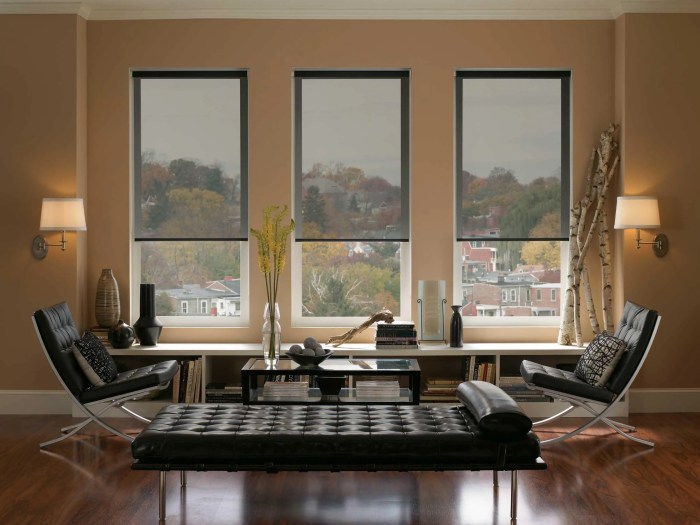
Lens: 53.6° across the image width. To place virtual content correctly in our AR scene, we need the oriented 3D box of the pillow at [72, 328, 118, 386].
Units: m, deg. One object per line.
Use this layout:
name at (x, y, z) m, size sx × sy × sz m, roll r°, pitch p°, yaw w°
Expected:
pillow at (-1.997, 0.773, 5.431) m, size 0.114 × 0.365 × 0.384 m, roll -25°, pitch 19°, yaw 1°

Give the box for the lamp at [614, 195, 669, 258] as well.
lamp at (2.632, -0.294, 6.274) m, size 0.400 × 0.555 × 0.365 m, roll 3°, pitch 2°, yaw 44°

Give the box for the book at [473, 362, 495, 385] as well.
book at (1.222, 1.010, 6.341) m, size 0.164 × 0.214 × 0.221 m, roll 3°, pitch -6°, yaw 5°

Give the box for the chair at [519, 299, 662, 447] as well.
chair at (1.940, 0.889, 5.756) m, size 1.072 × 1.152 × 0.863 m, roll 1°, pitch 2°, yaw 12°

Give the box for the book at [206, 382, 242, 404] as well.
book at (-1.139, 1.169, 6.257) m, size 0.313 × 0.132 × 0.228 m, roll -1°, pitch 12°, yaw -5°

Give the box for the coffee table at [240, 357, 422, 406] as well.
coffee table at (-0.155, 0.974, 5.638) m, size 1.413 × 0.268 × 0.622 m, roll 0°, pitch 12°, yaw -1°

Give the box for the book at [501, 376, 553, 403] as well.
book at (1.539, 1.163, 6.232) m, size 0.328 × 0.076 × 0.331 m, roll 1°, pitch 2°, yaw -3°

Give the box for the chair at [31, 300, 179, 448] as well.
chair at (-1.973, 0.881, 5.653) m, size 1.034 × 1.042 × 0.751 m, roll 0°, pitch 2°, yaw -12°

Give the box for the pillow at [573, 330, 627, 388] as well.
pillow at (2.032, 0.712, 5.559) m, size 0.140 × 0.466 × 0.486 m, roll -7°, pitch -13°, yaw -19°

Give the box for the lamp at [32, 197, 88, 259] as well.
lamp at (-2.609, -0.274, 6.229) m, size 0.451 × 0.555 × 0.364 m, roll -1°, pitch 1°, yaw 9°
